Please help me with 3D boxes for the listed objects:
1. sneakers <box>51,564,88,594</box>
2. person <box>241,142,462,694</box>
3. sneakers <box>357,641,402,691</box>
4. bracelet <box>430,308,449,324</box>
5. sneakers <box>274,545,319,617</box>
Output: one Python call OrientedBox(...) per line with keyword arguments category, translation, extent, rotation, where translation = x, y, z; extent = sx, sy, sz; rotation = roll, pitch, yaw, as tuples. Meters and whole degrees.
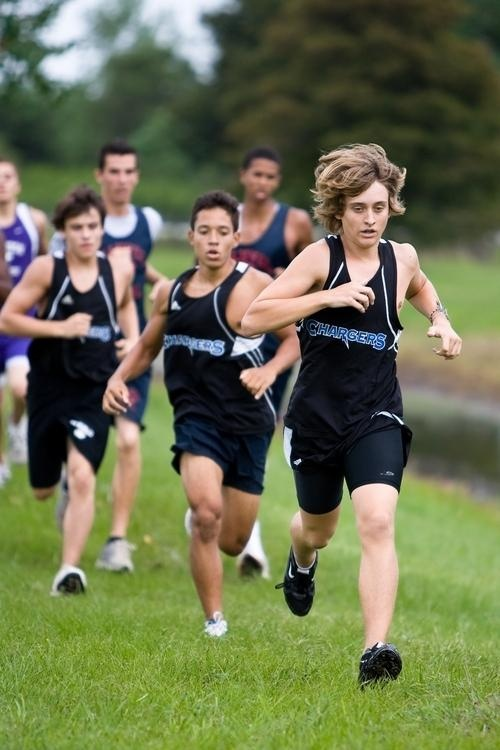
OrientedBox(category="sneakers", translation=(-0.878, 1.005, 4.133), extent=(0.157, 0.157, 0.190), rotation=(6, -7, -12))
OrientedBox(category="person", translation=(0.406, 0.051, 3.369), extent=(0.803, 2.019, 1.126), rotation=(3, -7, 12))
OrientedBox(category="sneakers", translation=(0.421, 0.935, 2.738), extent=(0.131, 0.142, 0.159), rotation=(4, -7, 5))
OrientedBox(category="bracelet", translation=(0.778, -0.249, 3.452), extent=(0.062, 0.073, 0.035), rotation=(0, 17, 5))
OrientedBox(category="sneakers", translation=(0.236, 1.028, 4.176), extent=(0.203, 0.331, 0.151), rotation=(1, 14, -5))
